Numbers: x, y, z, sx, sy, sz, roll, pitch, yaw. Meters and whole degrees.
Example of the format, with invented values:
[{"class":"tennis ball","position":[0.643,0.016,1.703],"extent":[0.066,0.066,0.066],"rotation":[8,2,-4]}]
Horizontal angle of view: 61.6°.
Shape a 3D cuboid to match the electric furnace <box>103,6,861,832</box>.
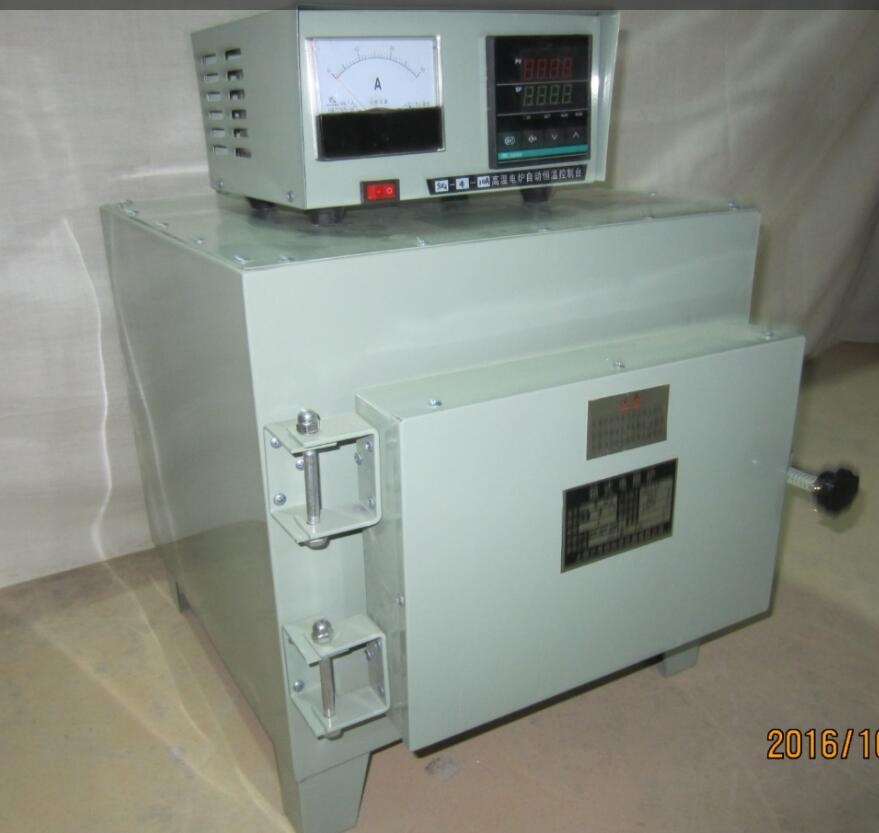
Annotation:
[{"class":"electric furnace","position":[0.044,-0.150,1.270],"extent":[0.779,1.089,1.006],"rotation":[-12,27,-26]}]
